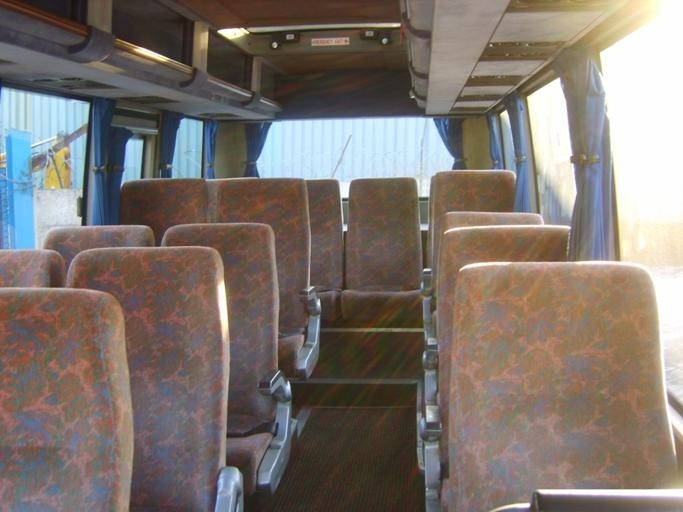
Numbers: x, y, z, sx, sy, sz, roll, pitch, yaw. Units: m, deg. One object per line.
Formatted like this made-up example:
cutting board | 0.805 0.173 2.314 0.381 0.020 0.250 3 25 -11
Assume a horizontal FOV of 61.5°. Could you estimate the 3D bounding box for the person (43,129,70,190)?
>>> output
person | -3.339 -1.100 6.725 0.241 0.222 0.947 -17 -32 -38
